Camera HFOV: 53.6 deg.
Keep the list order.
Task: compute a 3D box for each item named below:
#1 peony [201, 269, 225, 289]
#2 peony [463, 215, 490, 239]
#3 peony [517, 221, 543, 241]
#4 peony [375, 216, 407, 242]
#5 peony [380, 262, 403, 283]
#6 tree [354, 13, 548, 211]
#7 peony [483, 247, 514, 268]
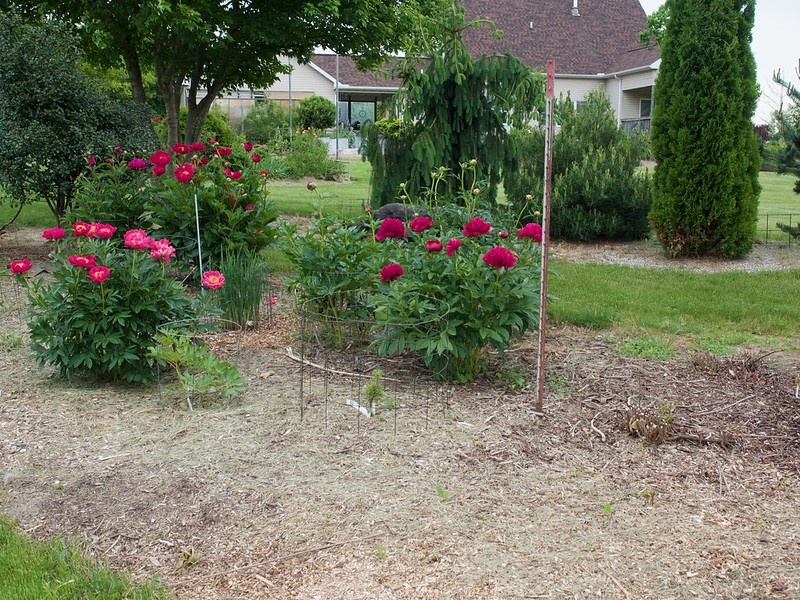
[{"bbox_3d":[-1.506,-0.145,6.342,0.151,0.157,0.290,-1,8,-17],"label":"peony"},{"bbox_3d":[0.575,-0.538,5.852,0.137,0.114,0.148,0,9,17],"label":"peony"},{"bbox_3d":[1.019,-0.511,6.096,0.156,0.160,0.158,1,3,-31],"label":"peony"},{"bbox_3d":[-0.073,-0.555,6.338,0.226,0.189,0.412,1,8,0],"label":"peony"},{"bbox_3d":[-0.066,-0.198,5.849,0.162,0.146,0.202,0,8,-7],"label":"peony"},{"bbox_3d":[0.664,-2.446,11.075,2.395,3.161,2.632,-5,29,-11],"label":"tree"},{"bbox_3d":[0.724,-0.303,5.788,0.229,0.184,0.290,2,8,6],"label":"peony"}]
